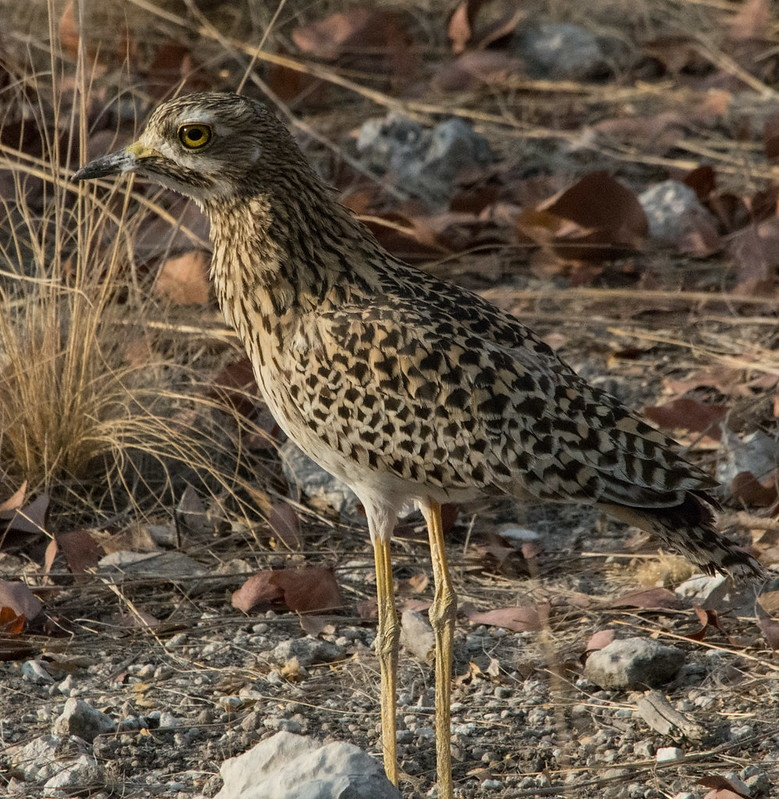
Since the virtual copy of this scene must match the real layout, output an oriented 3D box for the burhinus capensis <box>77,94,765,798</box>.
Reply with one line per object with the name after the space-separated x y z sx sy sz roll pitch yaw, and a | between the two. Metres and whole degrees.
0.079 0.026 3.126 1.528 1.680 0.786 18 27 37 | burhinus capensis
